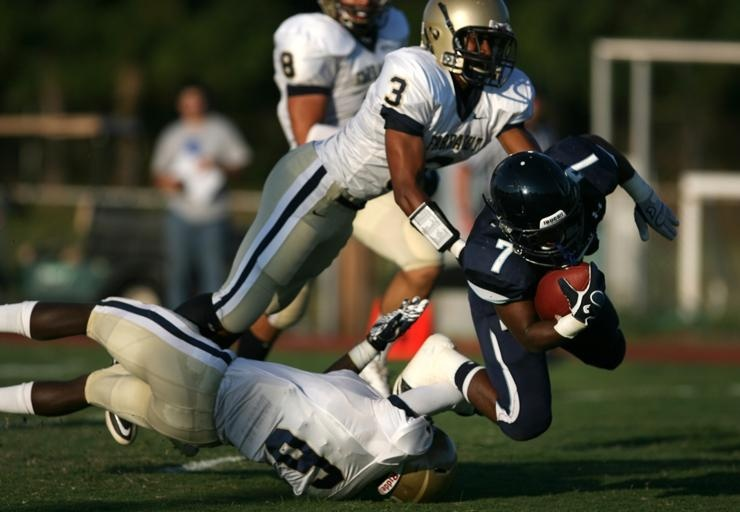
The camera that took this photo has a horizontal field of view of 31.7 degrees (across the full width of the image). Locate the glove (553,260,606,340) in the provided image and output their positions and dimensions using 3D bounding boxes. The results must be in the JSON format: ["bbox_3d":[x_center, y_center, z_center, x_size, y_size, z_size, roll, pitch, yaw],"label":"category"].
[{"bbox_3d":[1.133,0.245,7.029,0.162,0.338,0.347,-3,56,-35],"label":"glove"}]

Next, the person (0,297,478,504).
[{"bbox_3d":[-0.708,0.595,7.486,2.304,1.112,1.158,19,12,-4],"label":"person"}]

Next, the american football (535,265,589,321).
[{"bbox_3d":[1.016,0.195,7.111,0.230,0.315,0.254,3,52,-37],"label":"american football"}]

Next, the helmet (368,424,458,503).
[{"bbox_3d":[0.249,1.167,7.183,0.409,0.349,0.311,-29,-9,1],"label":"helmet"}]

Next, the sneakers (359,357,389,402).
[{"bbox_3d":[0.042,0.735,7.913,0.118,0.291,0.110,-27,-2,-15],"label":"sneakers"}]
